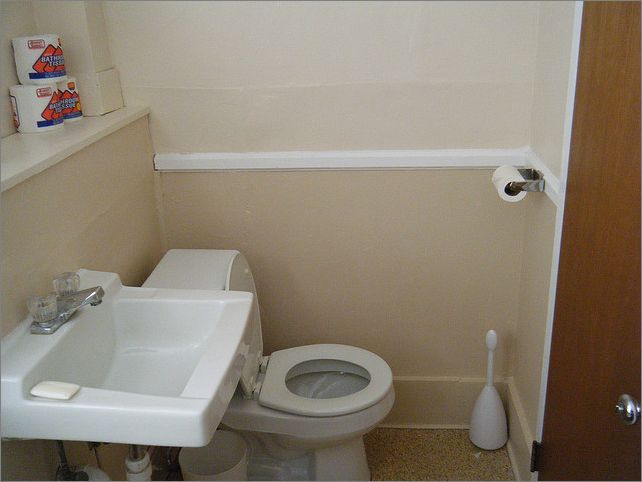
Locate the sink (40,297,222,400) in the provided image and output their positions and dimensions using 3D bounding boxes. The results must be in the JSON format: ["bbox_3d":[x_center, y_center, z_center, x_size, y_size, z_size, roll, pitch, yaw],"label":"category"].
[{"bbox_3d":[-0.512,0.305,1.582,0.307,0.144,0.353,1,29,-2],"label":"sink"}]

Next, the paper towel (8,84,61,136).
[{"bbox_3d":[-0.955,-0.446,1.799,0.156,0.150,0.096,-16,28,-28],"label":"paper towel"}]

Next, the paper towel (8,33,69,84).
[{"bbox_3d":[-0.966,-0.633,1.839,0.150,0.153,0.170,-1,25,-5],"label":"paper towel"}]
